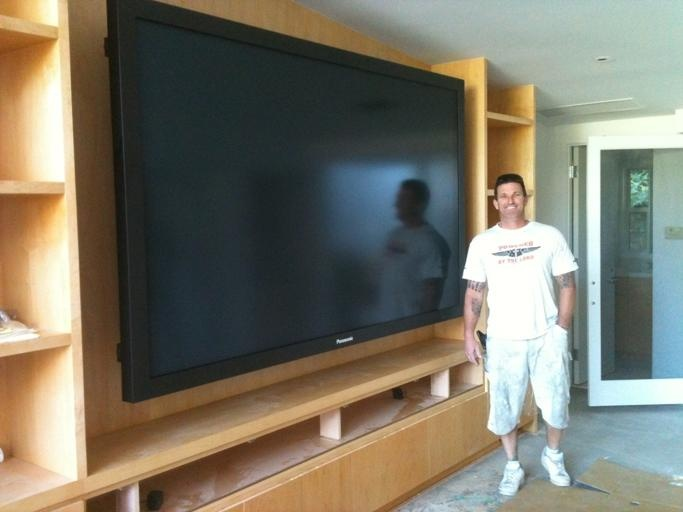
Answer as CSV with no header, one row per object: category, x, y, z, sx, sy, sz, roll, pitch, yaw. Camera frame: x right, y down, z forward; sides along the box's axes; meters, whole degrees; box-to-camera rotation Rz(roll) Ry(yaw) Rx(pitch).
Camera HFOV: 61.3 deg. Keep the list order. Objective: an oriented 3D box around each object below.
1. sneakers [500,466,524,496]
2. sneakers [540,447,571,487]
sneakers,1.016,1.343,3.446,0.086,0.107,0.246,-2,-7,32
sneakers,1.337,1.300,3.571,0.111,0.126,0.302,0,1,-2
